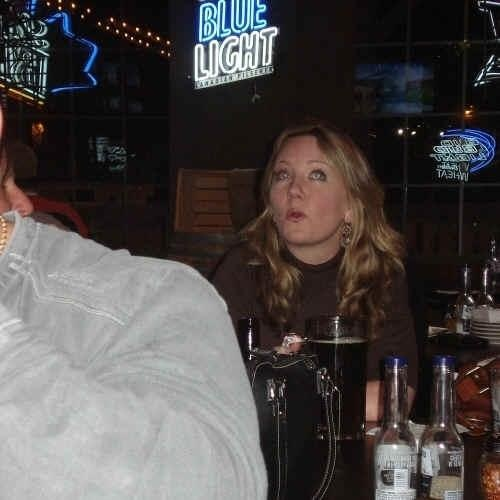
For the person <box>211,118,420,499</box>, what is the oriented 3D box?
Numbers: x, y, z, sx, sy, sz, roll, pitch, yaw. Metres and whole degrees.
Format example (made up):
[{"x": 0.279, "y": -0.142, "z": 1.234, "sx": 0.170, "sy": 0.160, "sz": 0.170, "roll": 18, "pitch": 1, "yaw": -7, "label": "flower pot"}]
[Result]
[{"x": 0.162, "y": 0.228, "z": 1.808, "sx": 0.618, "sy": 1.230, "sz": 0.651, "roll": 1, "pitch": -6, "yaw": -4, "label": "person"}]
